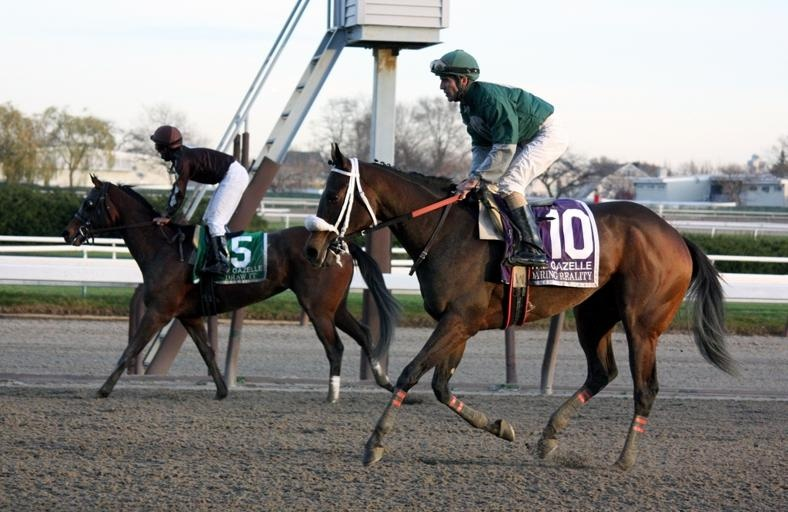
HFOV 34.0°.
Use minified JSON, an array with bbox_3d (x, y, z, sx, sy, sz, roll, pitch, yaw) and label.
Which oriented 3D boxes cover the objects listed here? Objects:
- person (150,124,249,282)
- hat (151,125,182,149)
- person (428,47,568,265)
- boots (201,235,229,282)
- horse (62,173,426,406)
[{"bbox_3d":[-1.984,-0.555,13.300,0.942,1.560,0.628,-1,6,-7],"label":"person"},{"bbox_3d":[-2.336,-1.223,13.211,0.300,0.205,0.229,0,6,2],"label":"hat"},{"bbox_3d":[1.004,-0.919,12.094,1.198,1.979,0.767,0,6,7],"label":"person"},{"bbox_3d":[-1.796,0.010,13.182,0.392,0.477,0.296,5,-15,-15],"label":"boots"},{"bbox_3d":[-1.635,0.422,13.491,3.594,2.112,0.715,3,0,-11],"label":"horse"}]
